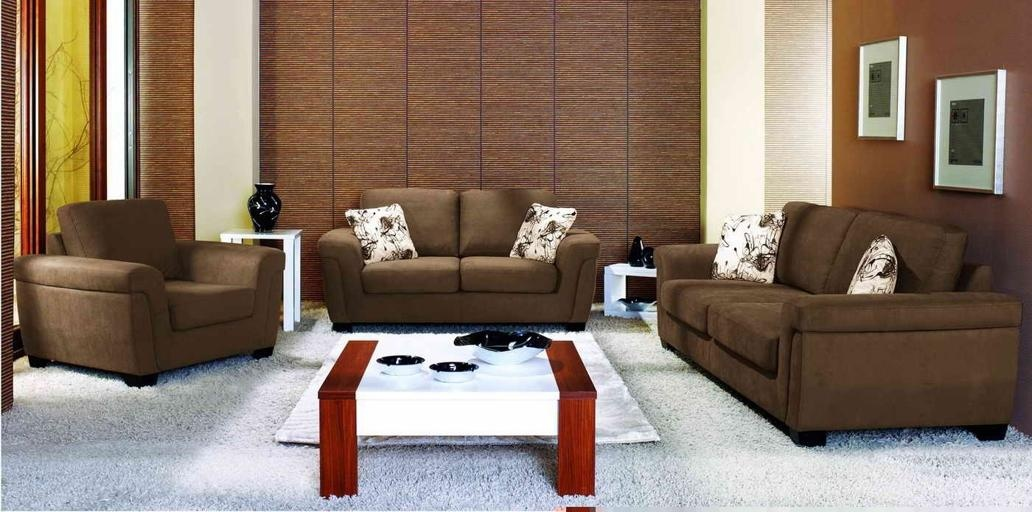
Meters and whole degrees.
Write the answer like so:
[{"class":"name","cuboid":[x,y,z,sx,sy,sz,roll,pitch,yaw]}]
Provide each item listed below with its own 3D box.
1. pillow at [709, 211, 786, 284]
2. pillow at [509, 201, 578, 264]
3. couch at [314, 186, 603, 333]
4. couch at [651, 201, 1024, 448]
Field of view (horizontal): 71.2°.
[{"class":"pillow","cuboid":[2.438,-0.211,7.341,0.945,0.754,0.227,-13,31,-38]},{"class":"pillow","cuboid":[0.324,-0.190,7.951,0.790,0.633,0.238,16,-12,44]},{"class":"couch","cuboid":[-0.596,-0.060,8.192,3.062,1.170,1.566,-1,20,-9]},{"class":"couch","cuboid":[2.775,0.413,6.979,1.846,1.326,3.538,-4,9,-5]}]
